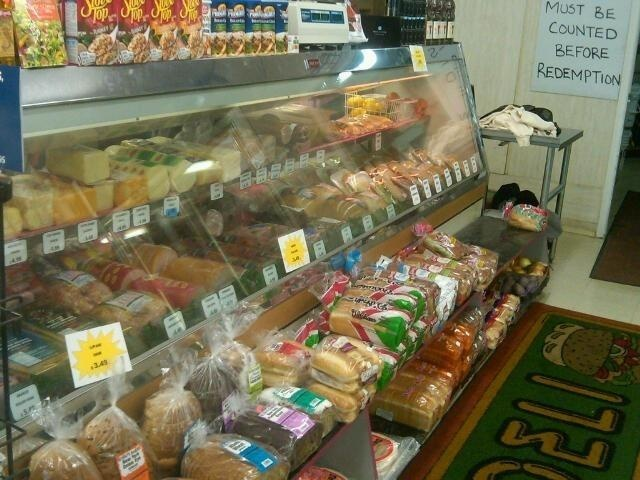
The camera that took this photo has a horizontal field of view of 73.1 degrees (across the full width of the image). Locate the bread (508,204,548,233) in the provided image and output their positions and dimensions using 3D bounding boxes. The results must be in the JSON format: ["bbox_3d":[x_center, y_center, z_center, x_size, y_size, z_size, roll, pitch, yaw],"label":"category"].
[{"bbox_3d":[1.419,-0.151,2.981,0.221,0.144,0.183,17,5,13],"label":"bread"}]
